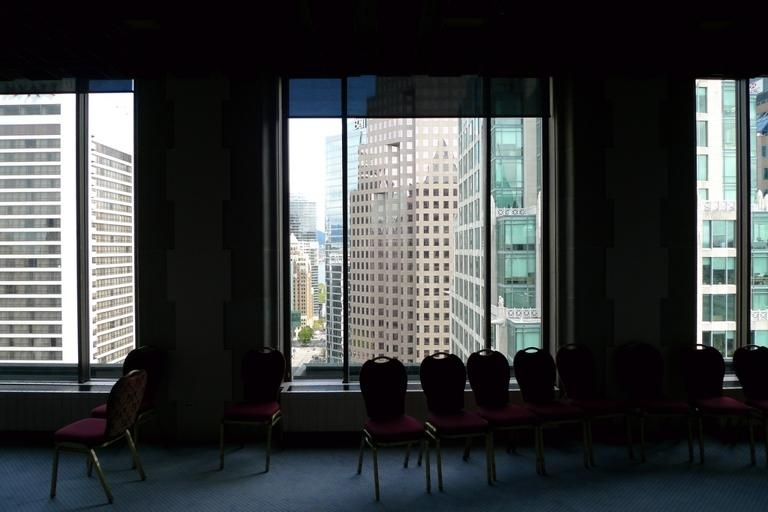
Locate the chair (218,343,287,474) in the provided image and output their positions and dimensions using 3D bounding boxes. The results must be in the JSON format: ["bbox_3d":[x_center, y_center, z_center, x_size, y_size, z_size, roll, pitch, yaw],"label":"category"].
[{"bbox_3d":[-1.735,1.976,9.626,0.881,1.144,0.788,-3,-1,-8],"label":"chair"}]

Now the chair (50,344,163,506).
[{"bbox_3d":[-3.574,2.103,9.327,1.191,1.151,1.108,-3,-1,-2],"label":"chair"}]
